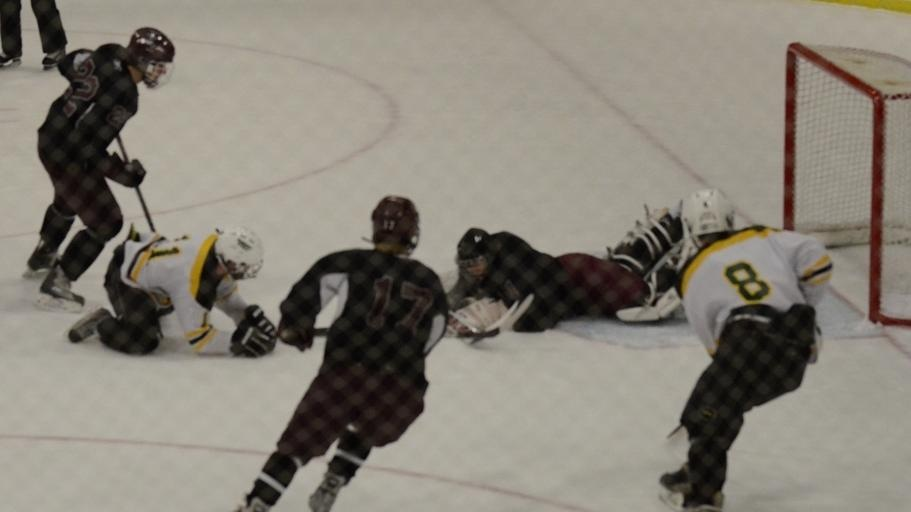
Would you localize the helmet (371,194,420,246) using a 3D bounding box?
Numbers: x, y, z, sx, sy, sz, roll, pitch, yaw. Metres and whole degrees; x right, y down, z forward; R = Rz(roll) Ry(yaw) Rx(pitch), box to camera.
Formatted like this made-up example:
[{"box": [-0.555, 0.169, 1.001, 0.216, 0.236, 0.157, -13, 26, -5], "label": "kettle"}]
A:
[{"box": [-0.473, -0.266, 10.478, 0.338, 0.408, 0.410, 12, 9, -30], "label": "helmet"}]

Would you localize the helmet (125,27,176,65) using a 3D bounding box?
[{"box": [-2.612, -1.795, 11.083, 0.379, 0.273, 0.276, 0, 26, -13], "label": "helmet"}]

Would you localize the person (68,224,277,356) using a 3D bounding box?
[{"box": [-2.312, 0.213, 11.053, 1.533, 0.918, 0.935, 7, 23, 7], "label": "person"}]

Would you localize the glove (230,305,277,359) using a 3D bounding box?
[{"box": [-1.686, 0.632, 10.943, 0.313, 0.458, 0.287, 1, 1, 13], "label": "glove"}]

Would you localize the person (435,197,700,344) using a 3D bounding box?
[{"box": [0.944, 0.144, 10.938, 1.932, 1.045, 0.785, -5, -20, 2], "label": "person"}]
